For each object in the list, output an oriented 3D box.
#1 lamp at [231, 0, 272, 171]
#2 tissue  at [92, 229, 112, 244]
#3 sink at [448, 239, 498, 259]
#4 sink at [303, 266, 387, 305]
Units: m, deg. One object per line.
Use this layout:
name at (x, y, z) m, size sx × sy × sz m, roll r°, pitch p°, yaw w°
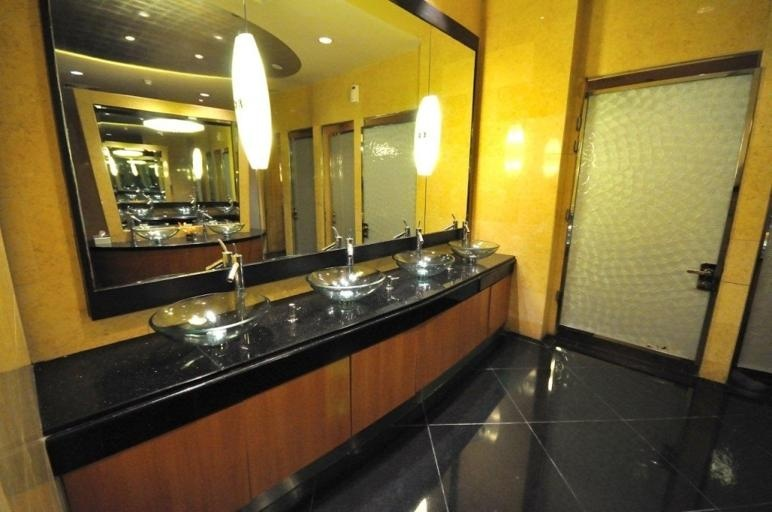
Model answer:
lamp at (-0.929, -1.164, 3.591) m, size 0.257 × 1.155 × 0.276 m, roll -6°, pitch 13°, yaw -10°
tissue  at (-1.812, -0.118, 3.346) m, size 0.084 × 0.079 × 0.085 m, roll 10°, pitch 9°, yaw 43°
sink at (0.833, -0.057, 4.950) m, size 0.294 × 0.101 × 0.285 m, roll 2°, pitch 11°, yaw 11°
sink at (-0.297, 0.233, 3.946) m, size 0.591 × 0.177 × 0.569 m, roll -2°, pitch 14°, yaw -9°
